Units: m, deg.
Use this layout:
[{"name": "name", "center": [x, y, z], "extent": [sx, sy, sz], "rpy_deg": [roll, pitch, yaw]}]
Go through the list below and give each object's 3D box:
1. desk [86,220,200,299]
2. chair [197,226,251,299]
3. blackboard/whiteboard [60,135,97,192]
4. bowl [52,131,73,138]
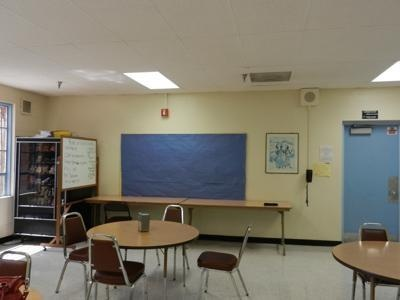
[{"name": "desk", "center": [-0.719, 1.478, 4.062], "extent": [1.112, 0.565, 1.108], "rpy_deg": [-1, 1, 0]}, {"name": "chair", "center": [0.354, 1.499, 4.398], "extent": [0.682, 1.076, 0.937], "rpy_deg": [0, 1, 6]}, {"name": "blackboard/whiteboard", "center": [-2.491, 0.287, 6.340], "extent": [0.065, 1.195, 1.259], "rpy_deg": [0, 0, 23]}, {"name": "bowl", "center": [-2.938, -0.350, 6.574], "extent": [0.289, 0.111, 0.290], "rpy_deg": [0, 0, 0]}]
